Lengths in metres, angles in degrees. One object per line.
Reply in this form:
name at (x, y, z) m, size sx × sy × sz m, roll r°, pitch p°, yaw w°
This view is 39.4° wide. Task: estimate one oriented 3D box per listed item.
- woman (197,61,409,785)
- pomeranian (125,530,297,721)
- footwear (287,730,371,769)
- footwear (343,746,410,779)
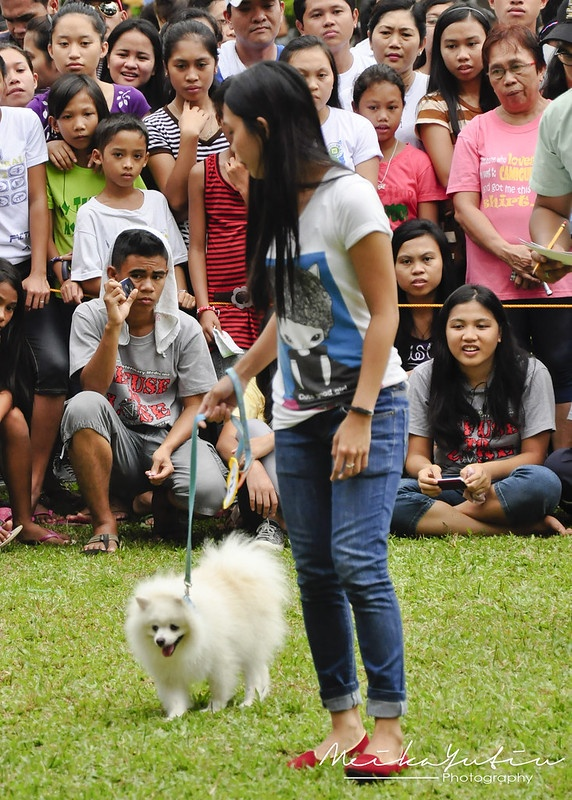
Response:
woman at (0.108, 0.058, 2.126) m, size 0.424 × 1.804 × 0.455 m, roll -2°, pitch 3°, yaw 8°
pomeranian at (-0.225, 0.741, 2.601) m, size 0.321 × 0.444 × 0.834 m, roll -5°, pitch -4°, yaw 21°
footwear at (0.101, 0.927, 2.112) m, size 0.245 × 0.060 × 0.082 m, roll -10°, pitch -1°, yaw 1°
footwear at (0.216, 0.890, 1.967) m, size 0.136 × 0.037 × 0.068 m, roll 7°, pitch -20°, yaw -22°
